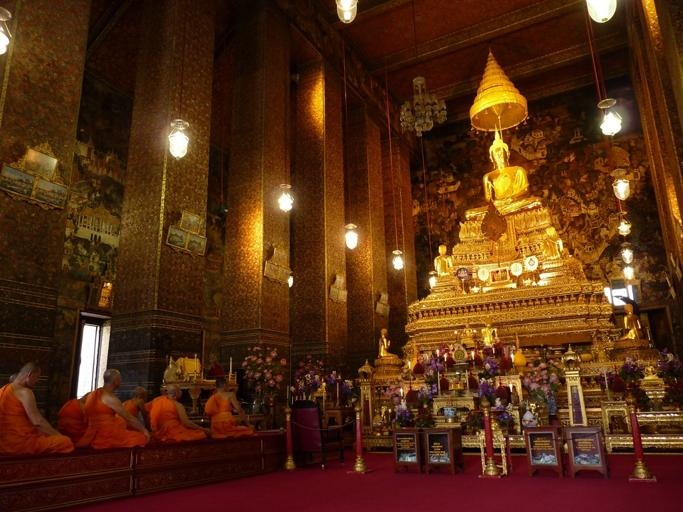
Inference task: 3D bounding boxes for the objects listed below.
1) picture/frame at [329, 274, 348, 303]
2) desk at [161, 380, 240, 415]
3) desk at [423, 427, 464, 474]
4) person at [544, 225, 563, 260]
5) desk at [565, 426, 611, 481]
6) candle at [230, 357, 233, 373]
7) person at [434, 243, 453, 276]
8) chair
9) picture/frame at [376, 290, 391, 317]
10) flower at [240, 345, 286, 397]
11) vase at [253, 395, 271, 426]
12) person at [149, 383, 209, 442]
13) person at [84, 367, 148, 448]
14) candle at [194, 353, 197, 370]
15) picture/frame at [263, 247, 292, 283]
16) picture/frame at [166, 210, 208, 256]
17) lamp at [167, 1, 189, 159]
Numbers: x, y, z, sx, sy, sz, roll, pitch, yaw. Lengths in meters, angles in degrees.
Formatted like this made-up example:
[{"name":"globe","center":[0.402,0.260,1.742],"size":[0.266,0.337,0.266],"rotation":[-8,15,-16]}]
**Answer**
[{"name":"picture/frame","center":[-0.080,0.596,9.872],"size":[0.071,0.476,0.504],"rotation":[-4,-10,28]},{"name":"desk","center":[-1.654,1.608,6.056],"size":[0.371,0.248,0.489],"rotation":[17,-30,-34]},{"name":"desk","center":[1.021,1.966,5.451],"size":[0.412,0.625,0.428],"rotation":[-7,-20,20]},{"name":"person","center":[3.947,-0.297,10.025],"size":[0.309,0.819,0.102],"rotation":[0,-26,6]},{"name":"desk","center":[2.320,1.804,5.091],"size":[0.342,0.510,0.293],"rotation":[-5,3,22]},{"name":"candle","center":[-1.665,1.619,8.006],"size":[0.040,0.236,0.177],"rotation":[3,-17,-16]},{"name":"person","center":[2.024,0.078,10.515],"size":[0.337,0.786,0.616],"rotation":[-5,-17,10]},{"name":"chair","center":[-0.262,2.101,6.350],"size":[0.517,0.738,0.805],"rotation":[-6,-17,13]},{"name":"picture/frame","center":[0.879,1.032,11.528],"size":[0.116,0.555,0.588],"rotation":[-4,-11,27]},{"name":"flower","center":[-1.137,1.712,7.994],"size":[0.736,0.751,0.439],"rotation":[5,-18,-24]},{"name":"vase","center":[-1.128,2.166,7.430],"size":[0.223,0.600,0.234],"rotation":[3,-44,-12]},{"name":"person","center":[-1.753,1.633,5.565],"size":[0.673,0.599,0.426],"rotation":[0,-9,12]},{"name":"person","center":[-2.191,1.426,5.067],"size":[0.682,0.702,0.531],"rotation":[-5,-9,28]},{"name":"candle","center":[-1.882,1.344,6.795],"size":[0.045,0.232,0.200],"rotation":[3,-18,-16]},{"name":"picture/frame","center":[-1.061,0.146,8.494],"size":[0.062,0.358,0.497],"rotation":[-3,-14,19]},{"name":"picture/frame","center":[-2.070,-0.321,7.110],"size":[0.120,0.581,0.656],"rotation":[-11,-19,27]},{"name":"lamp","center":[-2.211,-2.334,7.332],"size":[0.277,2.269,0.481],"rotation":[3,-17,-17]}]
